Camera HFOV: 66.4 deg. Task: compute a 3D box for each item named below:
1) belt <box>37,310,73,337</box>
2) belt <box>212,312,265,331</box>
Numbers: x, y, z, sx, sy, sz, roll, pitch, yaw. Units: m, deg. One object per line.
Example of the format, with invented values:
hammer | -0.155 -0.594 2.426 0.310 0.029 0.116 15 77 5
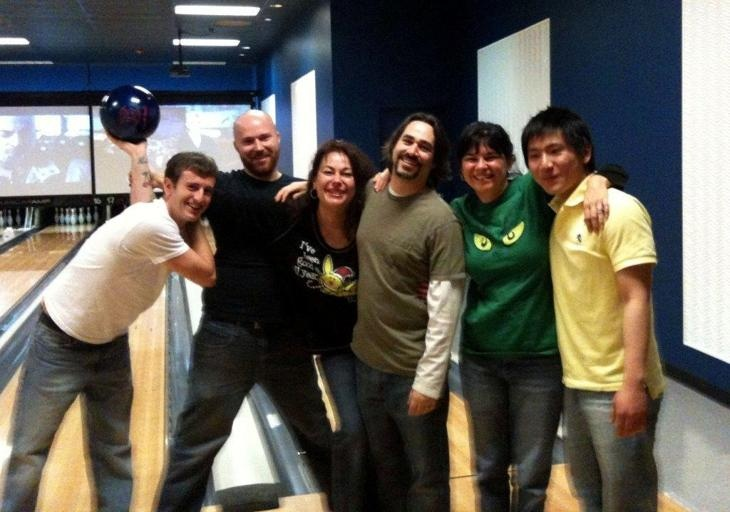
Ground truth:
belt | -1.097 0.237 1.948 0.150 0.086 0.036 4 10 28
belt | -0.483 0.256 2.091 0.205 0.062 0.027 0 9 6
